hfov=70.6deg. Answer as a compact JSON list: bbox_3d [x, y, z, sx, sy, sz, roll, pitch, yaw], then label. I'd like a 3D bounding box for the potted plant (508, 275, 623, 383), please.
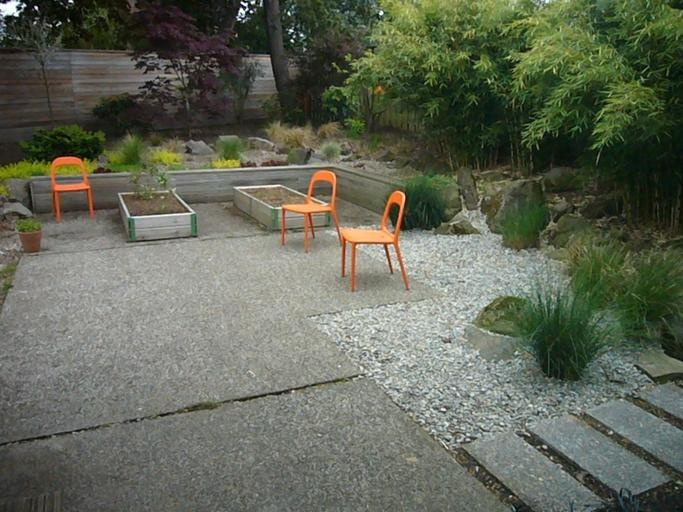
[{"bbox_3d":[1.535,0.449,3.481,0.561,0.783,0.716,2,-14,-6],"label":"potted plant"}]

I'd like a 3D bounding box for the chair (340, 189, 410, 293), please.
[{"bbox_3d":[0.282,-0.182,4.661,0.599,0.879,0.584,-2,15,-12],"label":"chair"}]

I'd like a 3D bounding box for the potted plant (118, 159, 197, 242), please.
[{"bbox_3d":[-2.489,-0.728,6.479,0.919,0.802,1.604,-5,18,-21],"label":"potted plant"}]

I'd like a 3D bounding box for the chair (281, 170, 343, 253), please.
[{"bbox_3d":[-0.359,-0.548,5.630,0.653,0.878,0.655,-5,18,-23],"label":"chair"}]
